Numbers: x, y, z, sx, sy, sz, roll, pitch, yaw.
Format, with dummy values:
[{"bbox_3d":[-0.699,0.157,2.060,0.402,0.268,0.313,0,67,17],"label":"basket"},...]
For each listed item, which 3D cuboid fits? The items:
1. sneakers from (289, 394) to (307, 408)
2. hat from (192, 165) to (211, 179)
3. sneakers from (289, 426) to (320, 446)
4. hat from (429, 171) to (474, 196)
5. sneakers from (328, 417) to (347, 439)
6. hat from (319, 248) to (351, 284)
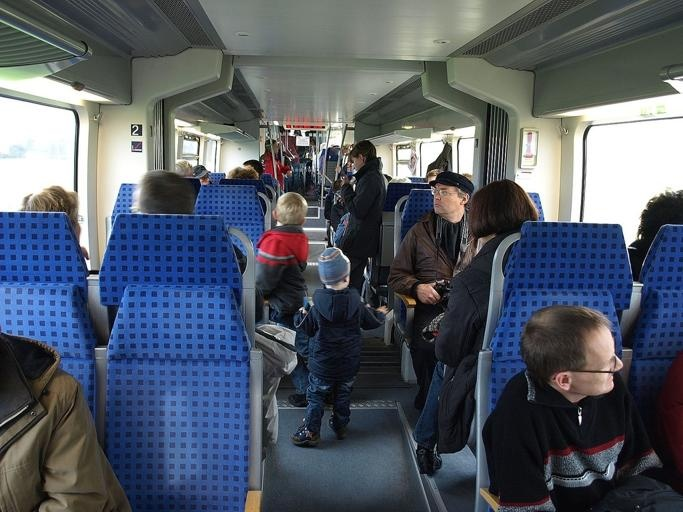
[{"bbox_3d":[-0.349,1.125,3.986,0.068,0.080,0.184,1,4,-26],"label":"sneakers"},{"bbox_3d":[-1.926,-1.124,7.007,0.247,0.237,0.128,-11,-23,-4],"label":"hat"},{"bbox_3d":[-0.244,1.211,3.435,0.183,0.117,0.103,-2,-9,40],"label":"sneakers"},{"bbox_3d":[0.867,-0.541,4.009,0.268,0.096,0.190,11,2,-15],"label":"hat"},{"bbox_3d":[-0.021,1.185,3.481,0.072,0.079,0.191,1,5,-3],"label":"sneakers"},{"bbox_3d":[-0.063,0.059,3.430,0.202,0.188,0.240,-8,42,9],"label":"hat"}]
